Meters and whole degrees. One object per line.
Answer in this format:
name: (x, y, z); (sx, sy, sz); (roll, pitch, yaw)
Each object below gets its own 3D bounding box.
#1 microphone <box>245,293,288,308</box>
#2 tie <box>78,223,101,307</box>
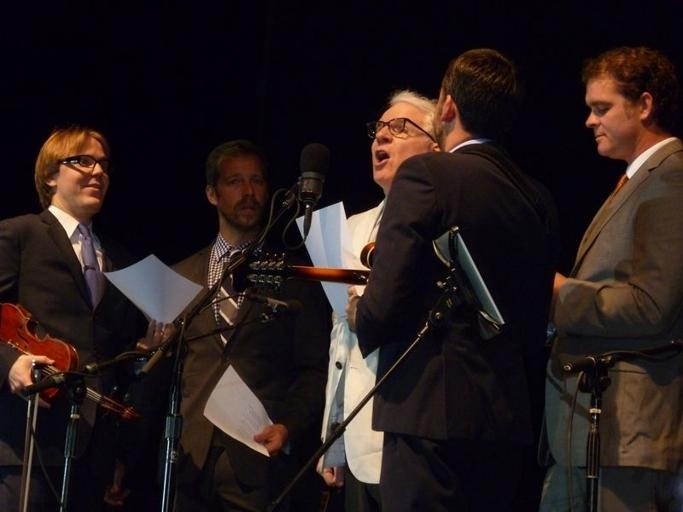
microphone: (-0.337, 0.204, 3.857); (0.198, 0.045, 0.196); (1, -3, 30)
tie: (-1.412, 0.061, 4.720); (0.121, 0.515, 0.080); (-8, -1, 14)
